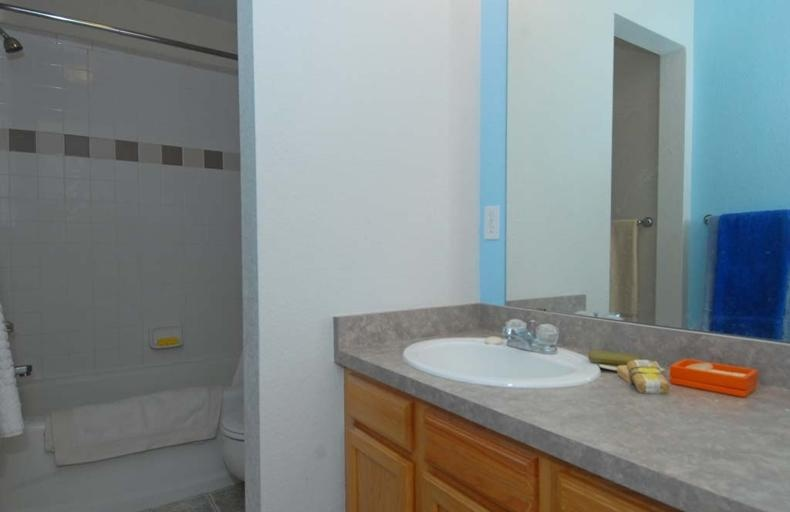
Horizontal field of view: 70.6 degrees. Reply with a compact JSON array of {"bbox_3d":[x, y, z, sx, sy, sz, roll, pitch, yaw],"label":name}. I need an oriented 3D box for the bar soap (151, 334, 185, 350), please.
[{"bbox_3d":[-1.510,0.571,3.699,0.194,0.093,0.037,-3,1,-21],"label":"bar soap"}]

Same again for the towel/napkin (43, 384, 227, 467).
[{"bbox_3d":[-1.399,0.925,3.069,0.577,0.157,0.414,0,2,-24],"label":"towel/napkin"}]

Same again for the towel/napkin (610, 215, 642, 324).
[{"bbox_3d":[0.958,0.056,2.329,0.113,0.411,0.056,-2,2,41],"label":"towel/napkin"}]

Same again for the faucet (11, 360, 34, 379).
[{"bbox_3d":[-2.205,0.682,3.317,0.124,0.090,0.044,5,-9,-30],"label":"faucet"}]
